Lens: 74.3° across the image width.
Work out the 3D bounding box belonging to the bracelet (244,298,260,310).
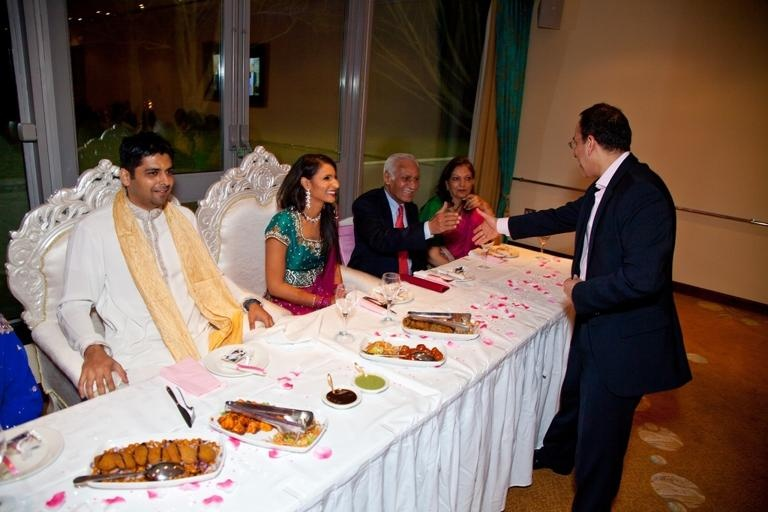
[{"bbox_3d":[-0.760,0.283,2.907,0.056,0.043,0.076,-1,19,-26],"label":"bracelet"}]

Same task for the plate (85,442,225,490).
[{"bbox_3d":[-0.813,0.744,1.780,0.298,0.051,0.195,-1,23,-6],"label":"plate"}]

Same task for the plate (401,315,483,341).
[{"bbox_3d":[0.298,0.376,2.544,0.263,0.072,0.164,7,11,14],"label":"plate"}]

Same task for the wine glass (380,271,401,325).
[{"bbox_3d":[0.036,0.240,2.632,0.117,0.327,0.126,-2,25,0],"label":"wine glass"}]

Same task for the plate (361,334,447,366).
[{"bbox_3d":[0.089,0.459,2.336,0.239,0.041,0.167,6,13,10],"label":"plate"}]

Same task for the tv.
[{"bbox_3d":[-1.276,-1.545,4.307,0.042,0.505,0.554,10,13,35],"label":"tv"}]

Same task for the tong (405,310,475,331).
[{"bbox_3d":[0.302,0.333,2.622,0.220,0.060,0.139,4,3,5],"label":"tong"}]

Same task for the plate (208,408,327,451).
[{"bbox_3d":[-0.450,0.681,1.906,0.275,0.055,0.186,15,10,18],"label":"plate"}]

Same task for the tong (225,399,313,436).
[{"bbox_3d":[-0.435,0.615,2.000,0.370,0.097,0.131,10,8,15],"label":"tong"}]

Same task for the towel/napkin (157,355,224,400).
[{"bbox_3d":[-0.810,0.520,2.139,0.205,0.033,0.129,21,27,31],"label":"towel/napkin"}]

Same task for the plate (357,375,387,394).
[{"bbox_3d":[-0.055,0.558,2.177,0.138,0.030,0.117,-2,18,-6],"label":"plate"}]

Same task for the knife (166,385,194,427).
[{"bbox_3d":[-0.800,0.601,2.011,0.213,0.026,0.064,26,51,37],"label":"knife"}]

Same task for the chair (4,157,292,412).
[{"bbox_3d":[-1.190,0.177,2.668,0.616,0.933,1.160,33,45,17],"label":"chair"}]

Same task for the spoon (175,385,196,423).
[{"bbox_3d":[-0.788,0.595,2.022,0.053,0.017,0.189,-28,37,-26],"label":"spoon"}]

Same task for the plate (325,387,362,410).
[{"bbox_3d":[-0.172,0.595,2.082,0.147,0.042,0.103,-4,19,-9],"label":"plate"}]
